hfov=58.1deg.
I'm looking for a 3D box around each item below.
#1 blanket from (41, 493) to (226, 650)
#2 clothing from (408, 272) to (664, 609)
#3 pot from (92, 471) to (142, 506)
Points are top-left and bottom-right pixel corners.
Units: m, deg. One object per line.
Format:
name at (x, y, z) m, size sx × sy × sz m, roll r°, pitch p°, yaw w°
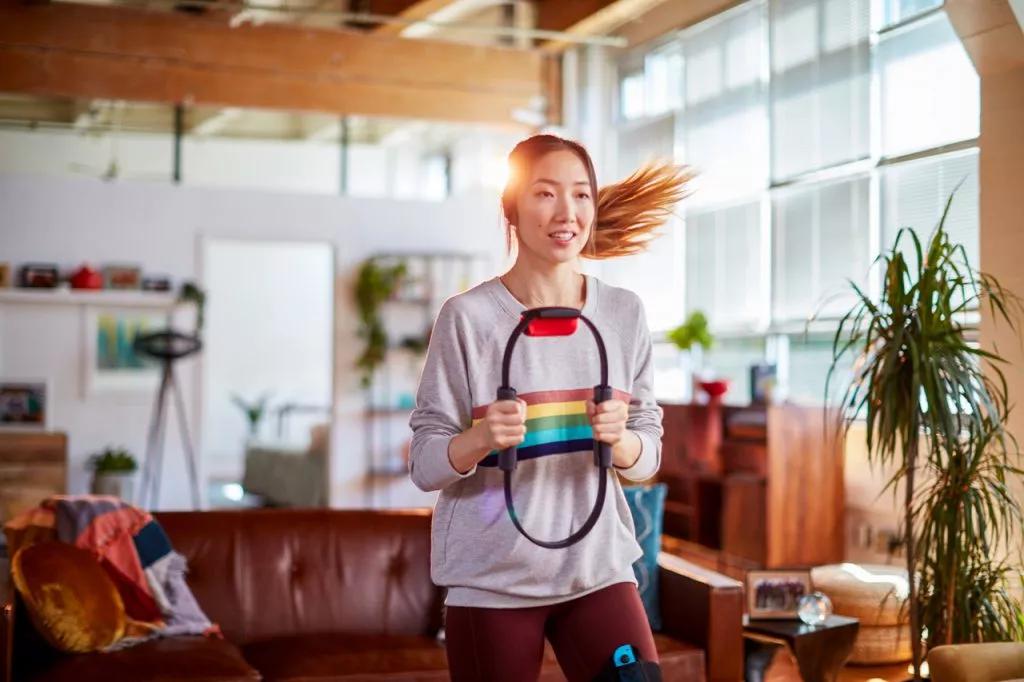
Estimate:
blanket at (-1.525, 0.916, 3.752) m, size 0.554 × 0.653 × 0.238 m, roll -19°, pitch -8°, yaw -46°
clothing at (0.092, 0.277, 2.738) m, size 0.816 × 0.924 × 0.515 m, roll 2°, pitch 3°, yaw -14°
pot at (-1.903, 0.682, 4.469) m, size 0.218 × 0.156 × 0.217 m, roll 1°, pitch -6°, yaw 0°
